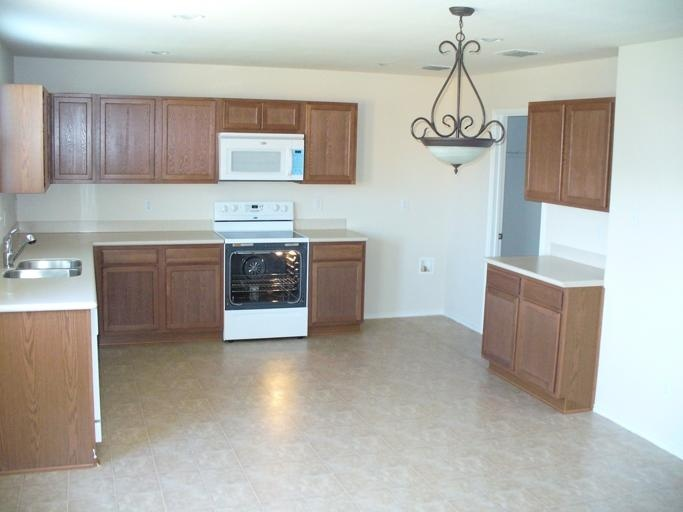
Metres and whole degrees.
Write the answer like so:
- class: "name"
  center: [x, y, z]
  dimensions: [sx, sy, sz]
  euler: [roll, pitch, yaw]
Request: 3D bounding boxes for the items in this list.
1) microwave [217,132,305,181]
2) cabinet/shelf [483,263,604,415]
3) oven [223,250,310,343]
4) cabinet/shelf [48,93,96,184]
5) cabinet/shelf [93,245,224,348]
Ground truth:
- class: "microwave"
  center: [-0.877, -1.092, 5.941]
  dimensions: [0.914, 0.508, 0.232]
  euler: [1, 15, -4]
- class: "cabinet/shelf"
  center: [1.795, 0.727, 4.687]
  dimensions: [0.421, 1.073, 1.175]
  euler: [1, 7, -10]
- class: "oven"
  center: [-0.909, 0.369, 6.180]
  dimensions: [0.944, 1.076, 0.629]
  euler: [-1, 5, -18]
- class: "cabinet/shelf"
  center: [-2.732, -1.197, 5.490]
  dimensions: [0.391, 0.872, 0.177]
  euler: [1, 15, -7]
- class: "cabinet/shelf"
  center: [-1.945, 0.382, 5.601]
  dimensions: [1.104, 0.881, 0.376]
  euler: [-1, 4, -17]
